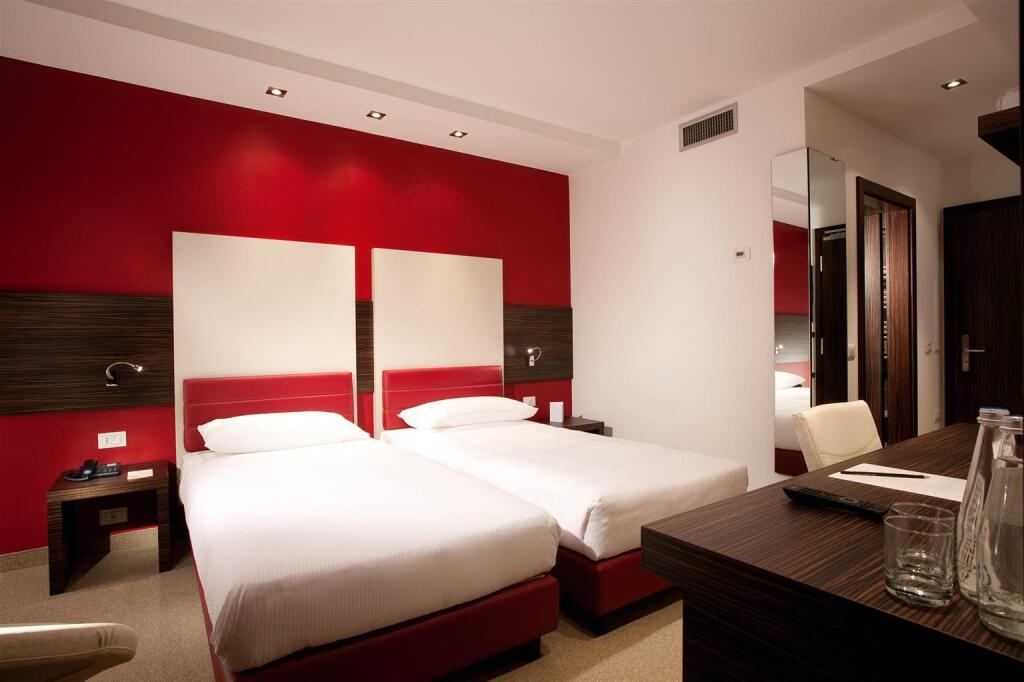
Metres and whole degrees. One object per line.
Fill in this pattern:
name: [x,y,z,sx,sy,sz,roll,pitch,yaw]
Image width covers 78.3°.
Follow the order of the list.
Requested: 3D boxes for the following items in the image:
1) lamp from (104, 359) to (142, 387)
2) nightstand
lamp: [-2.741,0.228,4.507,0.127,0.187,0.271,10,18,41]
nightstand: [-2.671,1.214,4.272,0.730,0.747,0.771,4,-9,-41]
